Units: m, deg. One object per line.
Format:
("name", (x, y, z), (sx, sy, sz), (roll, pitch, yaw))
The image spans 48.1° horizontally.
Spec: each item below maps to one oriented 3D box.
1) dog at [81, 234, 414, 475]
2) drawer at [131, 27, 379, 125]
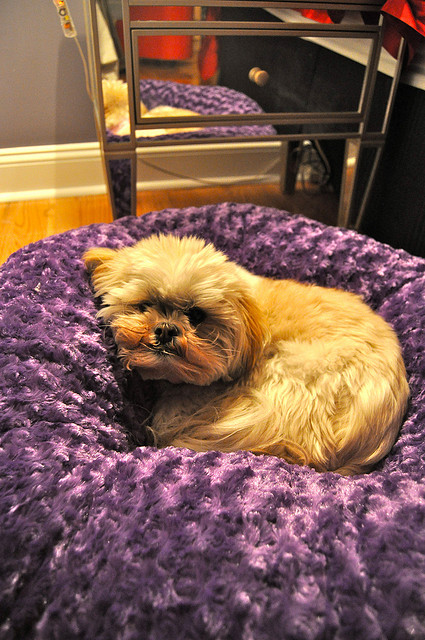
("dog", (0.072, 0.037, 0.746), (0.523, 0.249, 0.357), (9, 42, -14))
("drawer", (0.092, -0.538, 1.052), (0.550, 0.183, 0.094), (-9, 37, -17))
